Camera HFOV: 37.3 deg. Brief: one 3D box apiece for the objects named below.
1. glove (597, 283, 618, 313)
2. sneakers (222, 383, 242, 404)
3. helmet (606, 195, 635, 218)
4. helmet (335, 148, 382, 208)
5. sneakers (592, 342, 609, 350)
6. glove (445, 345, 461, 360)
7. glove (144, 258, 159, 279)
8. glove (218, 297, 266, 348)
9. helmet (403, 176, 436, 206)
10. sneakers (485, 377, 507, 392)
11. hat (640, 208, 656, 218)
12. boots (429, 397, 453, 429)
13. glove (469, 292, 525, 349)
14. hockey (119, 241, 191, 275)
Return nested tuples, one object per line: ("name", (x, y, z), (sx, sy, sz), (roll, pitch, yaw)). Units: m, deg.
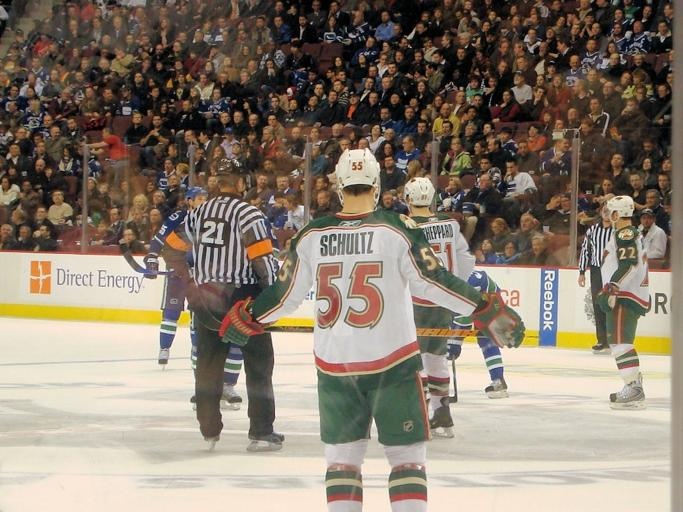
("glove", (2.562, 0.395, 9.643), (0.180, 0.253, 0.112), (6, 6, 27))
("sneakers", (-1.030, 1.310, 9.551), (0.107, 0.142, 0.325), (2, -10, -23))
("helmet", (2.715, -0.484, 9.805), (0.205, 0.234, 0.250), (-5, 17, -39))
("helmet", (0.116, -0.602, 7.108), (0.281, 0.370, 0.373), (-3, 17, 1))
("sneakers", (3.152, 1.074, 12.225), (0.195, 0.092, 0.183), (2, 8, 13))
("glove", (1.052, 0.895, 9.460), (0.145, 0.133, 0.123), (4, 1, 9))
("glove", (-1.949, 0.103, 10.416), (0.128, 0.254, 0.262), (-2, 8, -11))
("glove", (-0.720, 0.479, 7.321), (0.394, 0.351, 0.138), (6, 10, 41))
("helmet", (0.696, -0.569, 8.837), (0.211, 0.256, 0.266), (2, 4, 0))
("sneakers", (1.497, 1.224, 9.709), (0.188, 0.117, 0.114), (2, 3, 25))
("hat", (3.691, -0.541, 12.125), (0.093, 0.067, 0.135), (2, -24, 37))
("boots", (0.873, 1.357, 8.779), (0.193, 0.267, 0.165), (-1, 8, -3))
("glove", (1.086, 0.444, 7.010), (0.433, 0.262, 0.177), (42, -1, -7))
("hockey", (-1.946, 0.002, 10.610), (0.345, 0.175, 0.461), (16, 19, 23))
